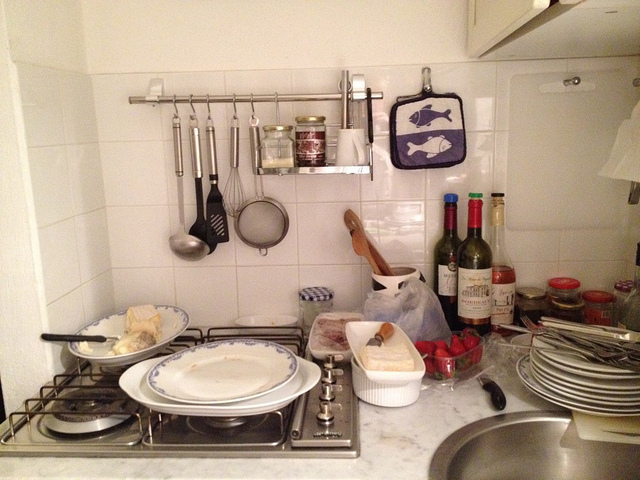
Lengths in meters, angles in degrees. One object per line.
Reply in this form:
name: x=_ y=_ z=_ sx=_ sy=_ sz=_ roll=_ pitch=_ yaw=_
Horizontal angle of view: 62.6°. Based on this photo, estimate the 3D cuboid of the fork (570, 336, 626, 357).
fork: x=0.734 y=0.287 z=1.421 sx=0.018 sy=0.013 sz=0.108 roll=-15 pitch=13 yaw=-18

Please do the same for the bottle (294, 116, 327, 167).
bottle: x=-0.030 y=-0.310 z=1.672 sx=0.141 sy=0.165 sz=0.141 roll=1 pitch=12 yaw=8

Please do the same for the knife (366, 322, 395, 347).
knife: x=0.172 y=0.271 z=1.525 sx=0.036 sy=0.031 sz=0.113 roll=26 pitch=35 yaw=14

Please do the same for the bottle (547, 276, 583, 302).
bottle: x=0.802 y=0.146 z=1.723 sx=0.084 sy=0.081 sz=0.085 roll=0 pitch=15 yaw=12

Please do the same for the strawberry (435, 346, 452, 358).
strawberry: x=0.351 y=0.319 z=1.494 sx=0.045 sy=0.022 sz=0.058 roll=1 pitch=13 yaw=18

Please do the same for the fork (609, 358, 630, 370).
fork: x=0.760 y=0.316 z=1.338 sx=0.047 sy=0.010 sz=0.030 roll=6 pitch=15 yaw=36

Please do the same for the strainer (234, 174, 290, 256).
strainer: x=-0.201 y=-0.047 z=1.813 sx=0.190 sy=0.206 sz=0.041 roll=-4 pitch=13 yaw=-4

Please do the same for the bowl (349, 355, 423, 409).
bowl: x=0.208 y=0.407 z=1.476 sx=0.167 sy=0.073 sz=0.169 roll=-1 pitch=-6 yaw=0

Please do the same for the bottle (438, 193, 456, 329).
bottle: x=0.417 y=0.066 z=1.728 sx=0.055 sy=0.421 sz=0.073 roll=0 pitch=13 yaw=14

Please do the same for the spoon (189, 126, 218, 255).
spoon: x=-0.402 y=-0.156 z=1.777 sx=0.112 sy=0.437 sz=0.075 roll=7 pitch=17 yaw=39

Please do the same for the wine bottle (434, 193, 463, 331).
wine bottle: x=0.442 y=0.096 z=1.776 sx=0.108 sy=0.492 sz=0.129 roll=-1 pitch=7 yaw=3

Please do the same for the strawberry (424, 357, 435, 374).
strawberry: x=0.312 y=0.356 z=1.494 sx=0.030 sy=0.040 sz=0.022 roll=-13 pitch=2 yaw=21

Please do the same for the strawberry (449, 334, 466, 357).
strawberry: x=0.395 y=0.300 z=1.504 sx=0.032 sy=0.023 sz=0.054 roll=-5 pitch=40 yaw=-2

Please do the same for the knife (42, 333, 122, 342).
knife: x=-0.728 y=0.295 z=1.585 sx=0.261 sy=0.037 sz=0.023 roll=6 pitch=0 yaw=-28

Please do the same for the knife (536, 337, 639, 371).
knife: x=0.700 y=0.298 z=1.392 sx=0.254 sy=0.029 sz=0.033 roll=7 pitch=16 yaw=40

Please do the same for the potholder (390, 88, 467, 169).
potholder: x=0.353 y=-0.354 z=1.728 sx=0.228 sy=0.262 sz=0.102 roll=4 pitch=20 yaw=5

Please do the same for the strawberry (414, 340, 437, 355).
strawberry: x=0.305 y=0.307 z=1.520 sx=0.064 sy=0.027 sz=0.061 roll=-1 pitch=13 yaw=12

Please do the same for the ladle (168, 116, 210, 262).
ladle: x=-0.470 y=-0.163 z=1.791 sx=0.135 sy=0.503 sz=0.103 roll=-7 pitch=13 yaw=-17

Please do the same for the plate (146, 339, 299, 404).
plate: x=-0.265 y=0.361 z=1.430 sx=0.403 sy=0.055 sz=0.403 roll=-3 pitch=10 yaw=-13

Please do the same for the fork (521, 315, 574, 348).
fork: x=0.676 y=0.275 z=1.607 sx=0.033 sy=0.037 sz=0.264 roll=30 pitch=-4 yaw=-26

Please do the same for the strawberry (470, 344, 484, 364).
strawberry: x=0.448 y=0.328 z=1.504 sx=0.051 sy=0.058 sz=0.051 roll=-2 pitch=3 yaw=3

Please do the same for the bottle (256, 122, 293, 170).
bottle: x=-0.147 y=-0.290 z=1.654 sx=0.119 sy=0.133 sz=0.092 roll=-3 pitch=13 yaw=1

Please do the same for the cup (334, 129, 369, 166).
cup: x=0.095 y=-0.276 z=1.607 sx=0.077 sy=0.118 sz=0.122 roll=0 pitch=12 yaw=1

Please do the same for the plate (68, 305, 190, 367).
plate: x=-0.641 y=0.253 z=1.640 sx=0.204 sy=0.045 sz=0.216 roll=-8 pitch=10 yaw=-6
